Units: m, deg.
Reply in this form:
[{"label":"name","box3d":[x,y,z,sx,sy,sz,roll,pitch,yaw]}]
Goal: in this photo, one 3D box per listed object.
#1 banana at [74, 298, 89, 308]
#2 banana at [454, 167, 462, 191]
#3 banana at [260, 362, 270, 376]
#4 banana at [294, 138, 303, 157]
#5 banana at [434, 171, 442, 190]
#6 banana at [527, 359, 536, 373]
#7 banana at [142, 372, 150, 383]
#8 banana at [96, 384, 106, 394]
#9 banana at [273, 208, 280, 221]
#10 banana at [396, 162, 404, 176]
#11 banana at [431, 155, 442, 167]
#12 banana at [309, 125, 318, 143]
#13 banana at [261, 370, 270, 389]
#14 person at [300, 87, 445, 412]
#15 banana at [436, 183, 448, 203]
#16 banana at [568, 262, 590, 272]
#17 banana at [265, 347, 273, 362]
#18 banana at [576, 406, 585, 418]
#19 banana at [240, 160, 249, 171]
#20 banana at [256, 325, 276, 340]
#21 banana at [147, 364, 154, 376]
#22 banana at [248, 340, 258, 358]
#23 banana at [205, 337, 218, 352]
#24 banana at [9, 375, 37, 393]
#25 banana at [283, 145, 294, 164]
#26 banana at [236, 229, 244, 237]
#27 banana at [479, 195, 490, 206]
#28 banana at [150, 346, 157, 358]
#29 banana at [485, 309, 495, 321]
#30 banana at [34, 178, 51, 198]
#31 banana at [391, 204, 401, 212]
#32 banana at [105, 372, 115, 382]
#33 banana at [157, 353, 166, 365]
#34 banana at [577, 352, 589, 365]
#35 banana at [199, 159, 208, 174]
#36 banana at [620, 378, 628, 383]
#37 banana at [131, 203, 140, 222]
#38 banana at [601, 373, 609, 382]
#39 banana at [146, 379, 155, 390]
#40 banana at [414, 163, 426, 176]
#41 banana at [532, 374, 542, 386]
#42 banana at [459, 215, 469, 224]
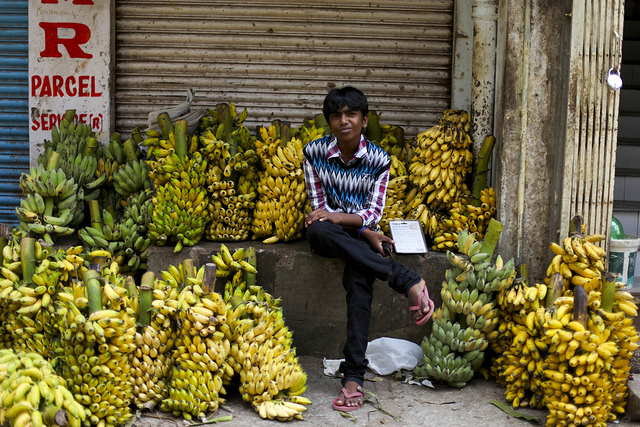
[{"label":"banana","box3d":[-1.927,0.722,5.410,0.110,0.078,0.052,2,2,-22]},{"label":"banana","box3d":[1.385,-0.344,6.761,0.054,0.209,0.070,2,7,12]},{"label":"banana","box3d":[-0.467,1.293,5.596,0.031,0.126,0.043,17,-38,1]},{"label":"banana","box3d":[-0.219,-0.662,6.629,0.078,0.165,0.179,2,2,5]},{"label":"banana","box3d":[1.175,-0.337,6.694,0.041,0.172,0.054,12,-2,19]},{"label":"banana","box3d":[1.808,1.308,5.747,0.046,0.100,0.034,16,-37,27]},{"label":"banana","box3d":[-1.452,1.364,5.540,0.046,0.065,0.035,-2,0,-16]},{"label":"banana","box3d":[-1.742,1.396,5.326,0.073,0.052,0.046,-18,13,5]},{"label":"banana","box3d":[-0.430,-0.008,6.535,0.063,0.106,0.025,3,2,26]},{"label":"banana","box3d":[0.814,-0.457,6.861,0.036,0.153,0.048,-13,-13,5]},{"label":"banana","box3d":[1.154,-0.531,6.732,0.158,0.045,0.054,-39,14,6]},{"label":"banana","box3d":[-0.069,-0.810,6.717,0.049,0.200,0.068,14,-23,21]},{"label":"banana","box3d":[-0.455,1.379,5.567,0.058,0.122,0.036,-2,-3,-13]},{"label":"person","box3d":[0.354,0.266,5.980,1.028,2.801,0.785,2,2,-8]},{"label":"banana","box3d":[1.215,-0.227,6.732,0.057,0.230,0.072,23,2,-5]},{"label":"banana","box3d":[2.274,0.464,5.914,0.180,0.061,0.062,2,-20,32]},{"label":"banana","box3d":[-0.432,1.195,5.670,0.036,0.124,0.043,12,-38,-9]},{"label":"banana","box3d":[2.121,1.628,5.484,0.042,0.033,0.092,0,29,23]},{"label":"banana","box3d":[-0.748,-0.493,6.586,0.076,0.069,0.166,-6,4,1]},{"label":"banana","box3d":[-0.477,1.018,5.735,0.073,0.103,0.292,19,-3,6]},{"label":"banana","box3d":[-1.407,1.304,5.555,0.052,0.075,0.042,0,-1,-10]},{"label":"banana","box3d":[-0.564,1.149,5.658,0.040,0.137,0.047,18,-20,4]},{"label":"banana","box3d":[-0.912,1.079,5.568,0.170,0.059,0.050,37,8,14]},{"label":"banana","box3d":[-2.333,1.313,5.217,0.035,0.136,0.117,10,-30,39]},{"label":"banana","box3d":[-0.312,-0.592,6.532,0.064,0.208,0.057,-17,-15,-47]},{"label":"banana","box3d":[-0.792,0.183,6.664,0.063,0.064,0.027,2,2,-21]},{"label":"banana","box3d":[1.608,-0.143,6.562,0.038,0.140,0.046,-37,-17,-5]},{"label":"banana","box3d":[-1.389,1.157,5.577,0.058,0.089,0.029,2,2,-18]},{"label":"banana","box3d":[1.516,0.909,6.007,0.037,0.133,0.045,43,2,-18]},{"label":"banana","box3d":[-2.698,-0.249,6.490,0.072,0.247,0.083,-32,18,-21]},{"label":"banana","box3d":[0.749,-0.063,6.684,0.112,0.076,0.040,2,2,-32]},{"label":"banana","box3d":[-1.683,1.315,5.365,0.066,0.073,0.022,1,2,-29]},{"label":"banana","box3d":[-1.337,1.220,5.618,0.040,0.074,0.055,-22,0,38]},{"label":"banana","box3d":[2.146,1.195,5.487,0.040,0.051,0.147,29,47,28]},{"label":"banana","box3d":[-1.143,-0.473,6.507,0.035,0.129,0.039,21,-29,-12]},{"label":"banana","box3d":[2.601,1.427,5.739,0.032,0.047,0.041,-5,10,2]},{"label":"banana","box3d":[-1.843,-0.021,6.682,0.041,0.173,0.057,-5,8,-1]},{"label":"banana","box3d":[2.366,1.352,5.571,0.027,0.114,0.037,3,4,-5]},{"label":"banana","box3d":[-1.406,1.423,5.552,0.050,0.073,0.038,-13,-5,-16]},{"label":"banana","box3d":[1.005,-0.455,6.781,0.060,0.185,0.050,36,-33,9]},{"label":"banana","box3d":[1.855,1.432,5.748,0.055,0.031,0.093,11,24,-30]},{"label":"banana","box3d":[1.420,0.049,6.640,0.092,0.069,0.036,3,2,12]}]
